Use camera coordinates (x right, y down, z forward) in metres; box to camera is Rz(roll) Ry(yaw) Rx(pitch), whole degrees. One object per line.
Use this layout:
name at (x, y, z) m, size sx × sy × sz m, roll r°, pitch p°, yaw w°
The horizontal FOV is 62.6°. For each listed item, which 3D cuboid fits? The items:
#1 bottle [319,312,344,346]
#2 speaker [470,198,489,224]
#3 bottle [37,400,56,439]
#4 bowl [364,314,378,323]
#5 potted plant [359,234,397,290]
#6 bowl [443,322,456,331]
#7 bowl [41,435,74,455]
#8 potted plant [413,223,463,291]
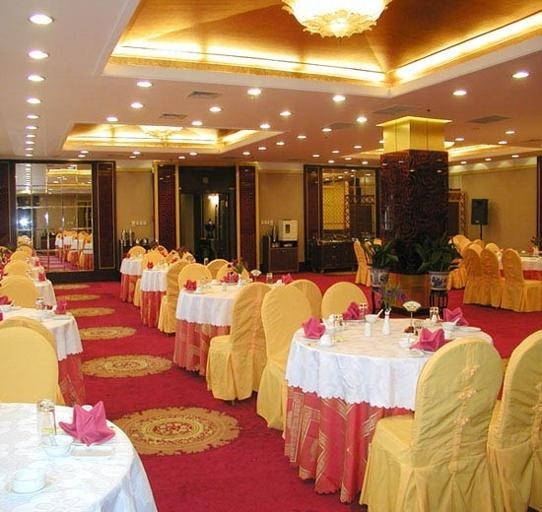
bottle at (0.398, 0.477, 2.874) m, size 0.120 × 0.144 × 0.385 m, roll -1°, pitch -4°, yaw 6°
speaker at (7.040, -1.528, 14.957) m, size 0.433 × 0.881 × 0.749 m, roll -1°, pitch 4°, yaw -5°
bottle at (-0.690, 0.506, 1.397) m, size 0.079 × 0.117 × 0.077 m, roll 1°, pitch 0°, yaw 0°
bowl at (0.694, 0.431, 3.105) m, size 0.067 × 0.038 × 0.068 m, roll -3°, pitch 0°, yaw 0°
potted plant at (1.792, 0.083, 7.478) m, size 0.672 × 0.914 × 0.837 m, roll -2°, pitch 8°, yaw 27°
bowl at (1.209, 0.479, 3.019) m, size 0.061 × 0.037 × 0.062 m, roll -2°, pitch 2°, yaw 0°
bowl at (-0.618, 0.541, 1.306) m, size 0.067 × 0.045 × 0.067 m, roll 0°, pitch -6°, yaw 0°
potted plant at (2.771, 0.019, 7.753) m, size 0.885 × 1.191 × 1.098 m, roll 0°, pitch 1°, yaw -24°
